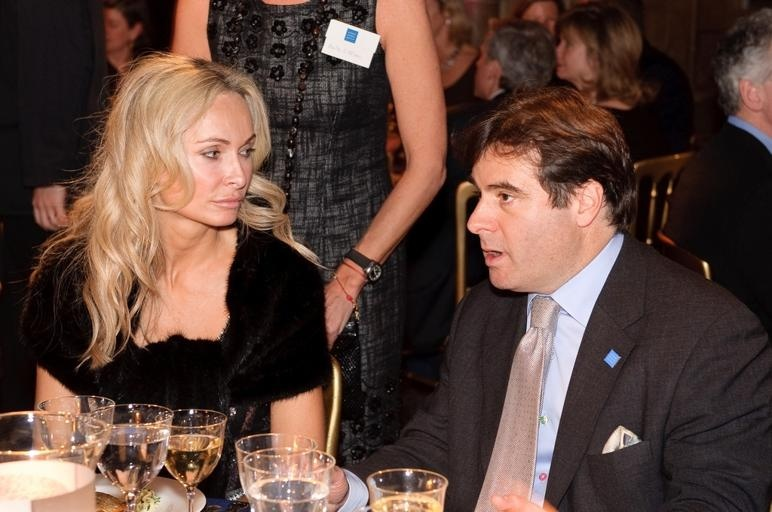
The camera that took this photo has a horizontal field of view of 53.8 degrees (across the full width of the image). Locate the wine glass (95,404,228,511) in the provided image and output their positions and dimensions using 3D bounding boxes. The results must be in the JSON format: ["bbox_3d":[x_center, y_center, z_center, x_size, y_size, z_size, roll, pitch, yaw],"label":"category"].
[{"bbox_3d":[-0.530,0.386,1.849,0.258,0.417,0.250,4,18,-12],"label":"wine glass"}]
